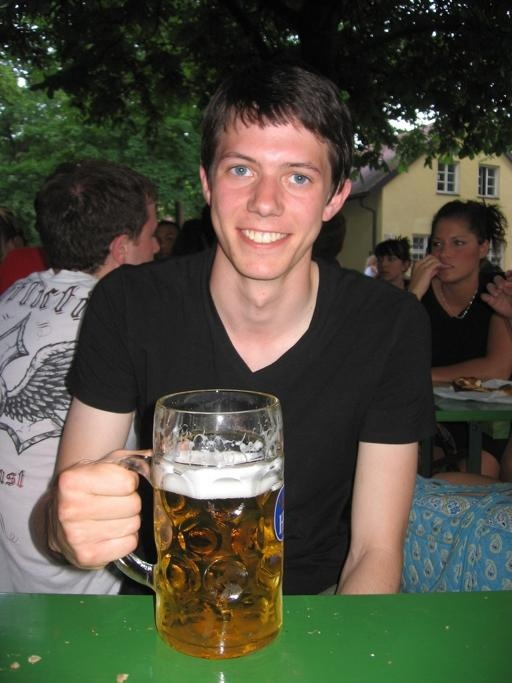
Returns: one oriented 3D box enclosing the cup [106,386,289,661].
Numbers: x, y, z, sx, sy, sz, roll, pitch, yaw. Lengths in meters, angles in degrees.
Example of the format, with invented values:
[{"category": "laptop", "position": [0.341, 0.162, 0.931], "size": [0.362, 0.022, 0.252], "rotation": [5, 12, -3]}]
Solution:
[{"category": "cup", "position": [-0.078, 0.214, 0.740], "size": [0.228, 0.297, 0.171], "rotation": [2, 4, 11]}]
